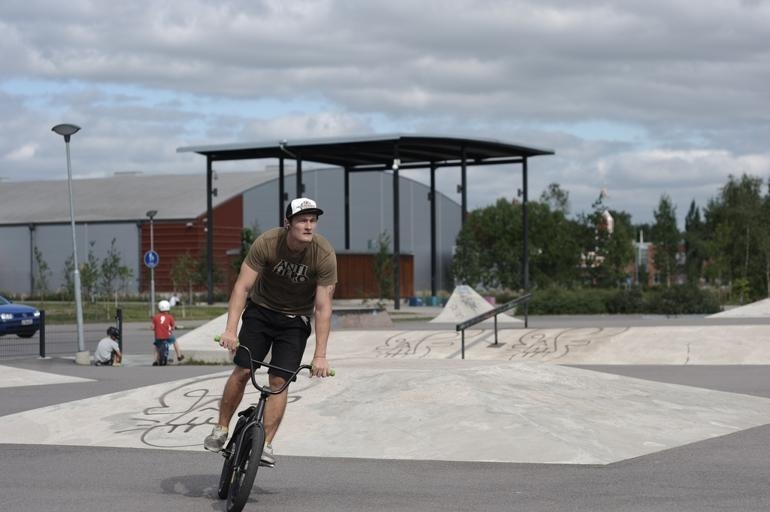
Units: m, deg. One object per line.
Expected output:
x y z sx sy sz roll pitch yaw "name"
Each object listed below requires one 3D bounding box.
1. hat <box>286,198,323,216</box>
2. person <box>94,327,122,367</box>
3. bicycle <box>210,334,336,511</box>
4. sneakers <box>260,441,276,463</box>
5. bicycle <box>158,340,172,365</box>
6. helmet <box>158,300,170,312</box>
-1.461 -0.854 20.950 0.624 0.332 0.410 -2 1 -4 "hat"
-7.343 2.360 31.518 0.756 0.984 0.838 12 8 28 "person"
-2.346 2.877 20.814 1.419 3.041 1.008 -1 2 -1 "bicycle"
-2.063 3.432 20.662 0.226 0.396 0.235 -2 2 -10 "sneakers"
-5.941 2.571 31.833 0.301 0.596 0.362 0 10 -2 "bicycle"
-6.029 1.354 32.406 0.322 0.369 0.443 0 -1 -17 "helmet"
